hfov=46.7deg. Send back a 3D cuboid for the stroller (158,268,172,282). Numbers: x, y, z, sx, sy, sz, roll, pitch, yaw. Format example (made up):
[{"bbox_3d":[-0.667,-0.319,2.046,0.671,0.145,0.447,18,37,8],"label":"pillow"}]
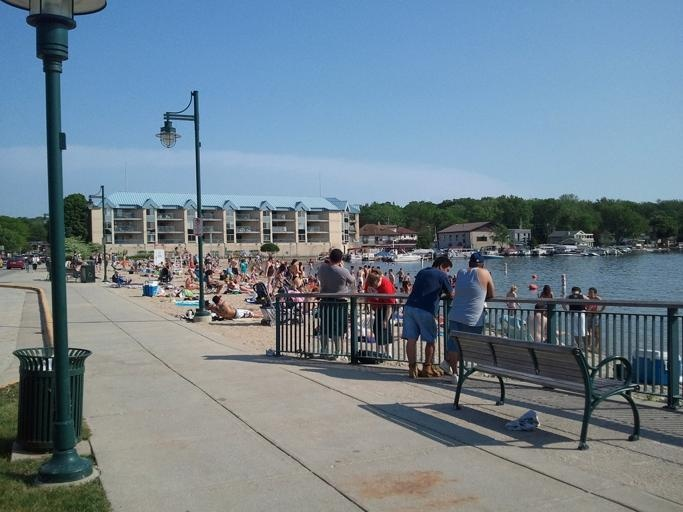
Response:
[{"bbox_3d":[-9.445,1.049,42.516,0.727,1.080,0.577,3,9,1],"label":"stroller"}]

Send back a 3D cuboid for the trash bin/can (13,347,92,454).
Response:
[{"bbox_3d":[-3.351,1.610,9.145,0.878,1.165,0.922,0,0,39],"label":"trash bin/can"}]

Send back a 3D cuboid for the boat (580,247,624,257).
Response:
[{"bbox_3d":[54.599,-0.765,166.017,7.302,1.465,1.940,-3,6,-28],"label":"boat"}]

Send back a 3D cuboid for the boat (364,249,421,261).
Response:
[{"bbox_3d":[8.837,-0.085,140.792,8.570,2.066,2.249,2,3,38],"label":"boat"}]

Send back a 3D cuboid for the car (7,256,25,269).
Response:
[{"bbox_3d":[-29.260,0.574,70.939,1.229,0.776,2.074,-3,10,-30],"label":"car"}]
